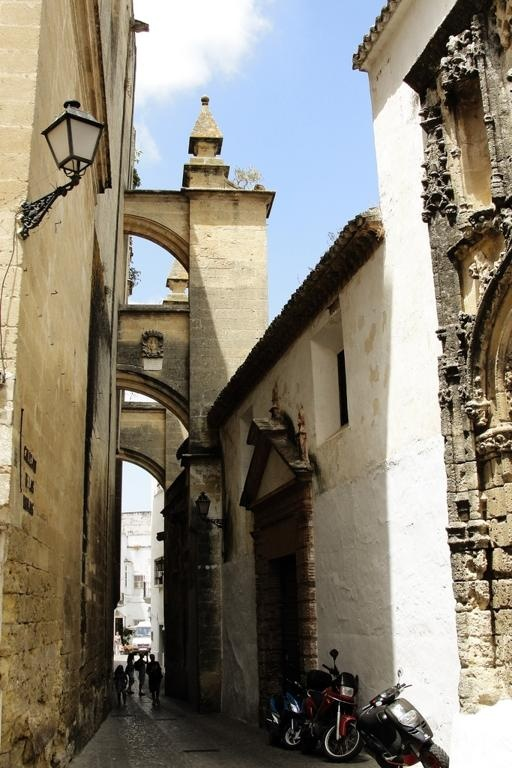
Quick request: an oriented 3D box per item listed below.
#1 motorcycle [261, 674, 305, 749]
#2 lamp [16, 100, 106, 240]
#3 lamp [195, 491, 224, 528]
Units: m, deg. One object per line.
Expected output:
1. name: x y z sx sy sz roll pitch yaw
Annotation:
1. motorcycle: 0.328 3.692 8.348 0.265 0.610 0.951 22 -24 -13
2. lamp: -0.986 -1.123 3.783 0.530 0.248 0.809 -42 -18 -36
3. lamp: -0.852 2.337 13.783 0.407 0.617 1.231 -4 -17 7
